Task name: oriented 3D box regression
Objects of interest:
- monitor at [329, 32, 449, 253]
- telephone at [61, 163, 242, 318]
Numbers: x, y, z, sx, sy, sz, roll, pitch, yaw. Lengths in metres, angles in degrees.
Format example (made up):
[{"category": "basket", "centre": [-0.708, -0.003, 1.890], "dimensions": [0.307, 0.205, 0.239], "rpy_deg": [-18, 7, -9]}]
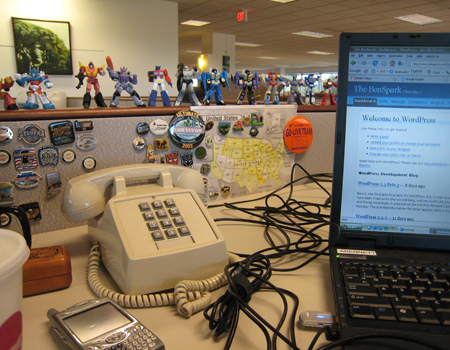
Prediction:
[{"category": "monitor", "centre": [0.326, -0.064, 0.669], "dimensions": [0.222, 0.406, 0.153], "rpy_deg": [3, 18, 16]}, {"category": "telephone", "centre": [-0.139, 0.097, 0.684], "dimensions": [0.309, 0.180, 0.405], "rpy_deg": [-2, 13, -30]}]
